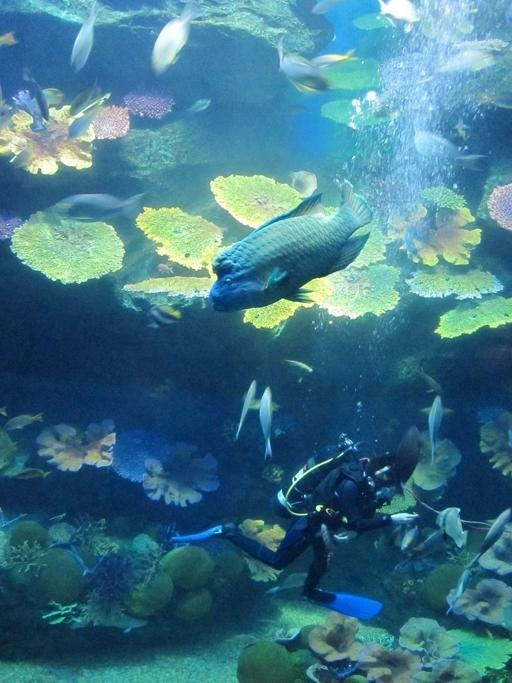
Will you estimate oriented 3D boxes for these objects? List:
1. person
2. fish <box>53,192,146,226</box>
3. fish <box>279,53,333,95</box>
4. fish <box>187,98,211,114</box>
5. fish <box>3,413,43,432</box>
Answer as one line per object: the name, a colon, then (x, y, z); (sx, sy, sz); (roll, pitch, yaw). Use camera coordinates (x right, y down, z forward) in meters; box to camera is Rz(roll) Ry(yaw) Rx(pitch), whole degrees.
person: (0.624, 1.871, 6.821); (1.654, 1.921, 0.874); (6, 23, 3)
fish: (-1.587, -1.471, 7.254); (1.099, 0.370, 0.298); (-3, 64, -13)
fish: (0.459, -2.708, 6.845); (0.512, 0.325, 0.159); (35, 53, -2)
fish: (-0.827, -3.368, 9.711); (0.322, 0.202, 0.378); (2, 20, -6)
fish: (-2.889, 1.001, 8.366); (0.211, 0.250, 0.695); (-14, -8, -2)
